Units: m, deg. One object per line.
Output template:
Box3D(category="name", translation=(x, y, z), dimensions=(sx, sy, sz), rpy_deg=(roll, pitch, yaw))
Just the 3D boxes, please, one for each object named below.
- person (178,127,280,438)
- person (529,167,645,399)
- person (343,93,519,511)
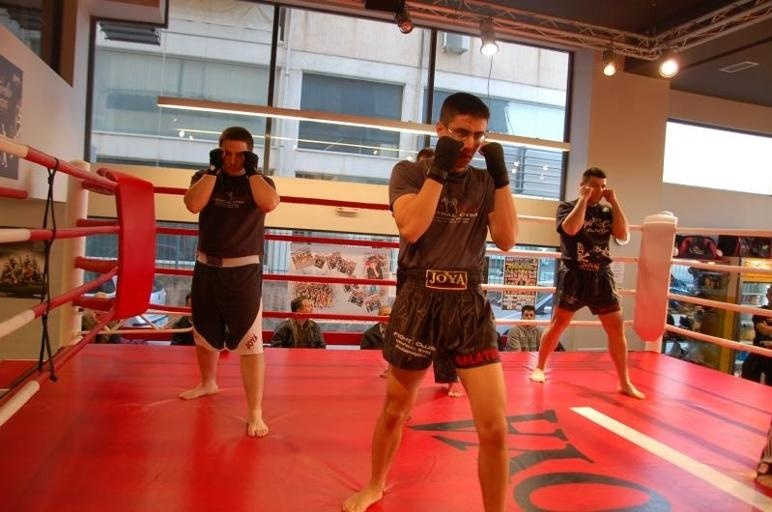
Box3D(category="person", translation=(-1.085, 0.145, 3.901), dimensions=(0.768, 2.099, 0.397), rpy_deg=(6, 6, 18))
Box3D(category="person", translation=(1.769, 0.203, 4.640), dimensions=(0.873, 1.861, 0.615), rpy_deg=(7, 6, 26))
Box3D(category="person", translation=(0.354, 0.300, 3.223), dimensions=(0.896, 2.483, 0.432), rpy_deg=(5, 5, 12))
